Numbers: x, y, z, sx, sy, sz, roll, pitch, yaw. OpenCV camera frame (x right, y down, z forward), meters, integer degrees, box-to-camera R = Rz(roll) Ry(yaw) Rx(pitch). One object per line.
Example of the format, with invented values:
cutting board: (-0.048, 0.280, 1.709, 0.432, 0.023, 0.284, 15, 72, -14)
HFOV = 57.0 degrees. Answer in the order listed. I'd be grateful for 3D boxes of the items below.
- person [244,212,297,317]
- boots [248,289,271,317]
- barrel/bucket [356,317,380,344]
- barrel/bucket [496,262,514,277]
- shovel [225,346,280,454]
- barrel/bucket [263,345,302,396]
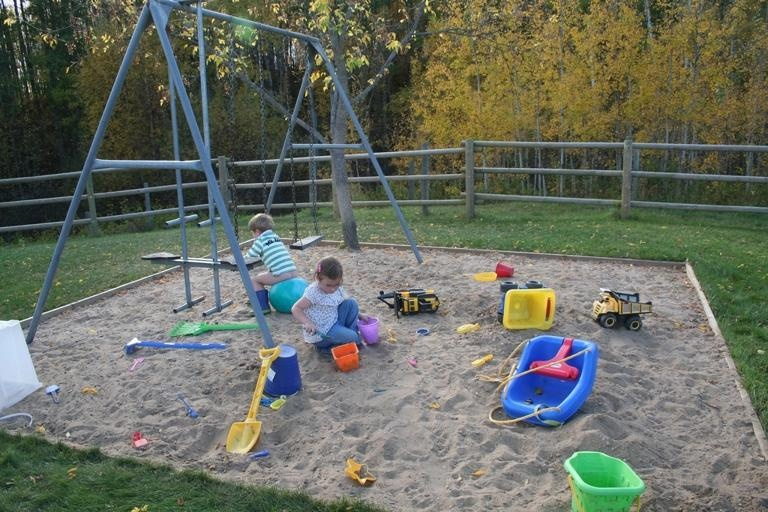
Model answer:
person: (-1.793, 0.132, 10.695, 0.915, 1.509, 0.653, -1, 5, 42)
boots: (-1.796, 0.681, 10.363, 0.381, 0.474, 0.211, -4, 5, -14)
barrel/bucket: (-0.233, 1.038, 9.864, 0.308, 0.281, 0.339, -14, -2, 0)
barrel/bucket: (1.927, 0.166, 11.262, 0.220, 0.233, 0.221, 1, 41, -1)
shovel: (-1.568, 1.760, 8.863, 0.373, 1.468, 0.397, -3, -33, 30)
barrel/bucket: (-1.226, 1.467, 9.235, 0.544, 0.554, 0.520, 0, 10, 0)
